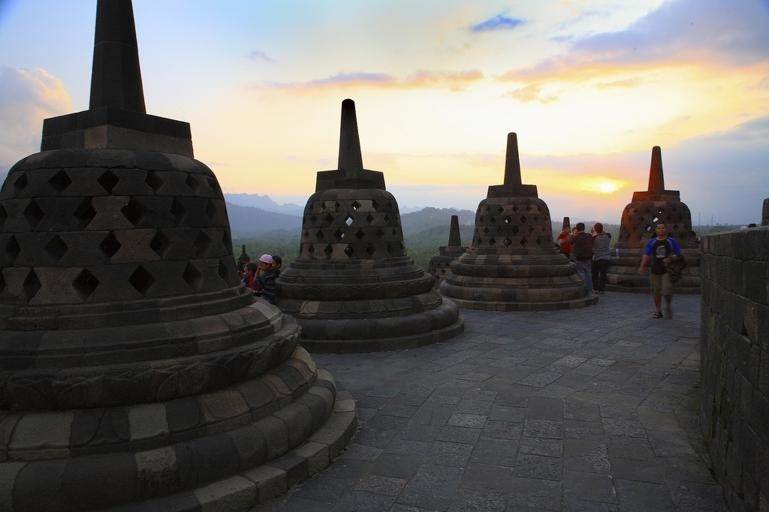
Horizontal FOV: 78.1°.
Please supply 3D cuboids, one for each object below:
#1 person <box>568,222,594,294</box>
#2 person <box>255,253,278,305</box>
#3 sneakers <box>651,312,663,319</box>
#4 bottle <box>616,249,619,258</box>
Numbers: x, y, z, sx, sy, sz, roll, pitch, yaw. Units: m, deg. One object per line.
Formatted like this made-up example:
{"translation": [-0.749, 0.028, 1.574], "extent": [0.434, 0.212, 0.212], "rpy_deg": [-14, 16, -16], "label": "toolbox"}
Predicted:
{"translation": [4.575, 0.032, 10.967], "extent": [0.503, 1.619, 1.135], "rpy_deg": [3, 10, 23], "label": "person"}
{"translation": [-1.849, 0.344, 7.627], "extent": [0.399, 0.756, 0.557], "rpy_deg": [-5, 10, -21], "label": "person"}
{"translation": [4.857, 1.052, 8.459], "extent": [0.101, 0.103, 0.272], "rpy_deg": [-3, -5, 36], "label": "sneakers"}
{"translation": [5.941, -0.075, 12.080], "extent": [0.121, 0.203, 0.269], "rpy_deg": [3, 10, 23], "label": "bottle"}
